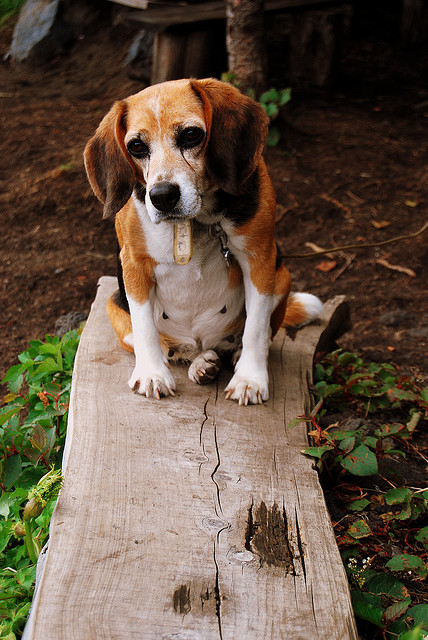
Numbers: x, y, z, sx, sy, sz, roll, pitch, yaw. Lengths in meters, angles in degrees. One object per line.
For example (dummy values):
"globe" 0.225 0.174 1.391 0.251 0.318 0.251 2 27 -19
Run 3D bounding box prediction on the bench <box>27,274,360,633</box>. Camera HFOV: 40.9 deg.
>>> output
"bench" -0.131 0.461 2.025 1.058 0.550 1.419 1 40 4

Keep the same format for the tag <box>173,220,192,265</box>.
"tag" -0.125 -0.299 2.228 0.078 0.167 0.072 -4 42 -1
